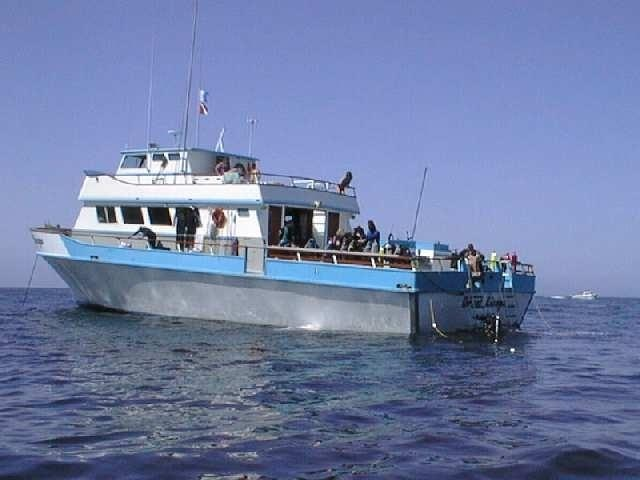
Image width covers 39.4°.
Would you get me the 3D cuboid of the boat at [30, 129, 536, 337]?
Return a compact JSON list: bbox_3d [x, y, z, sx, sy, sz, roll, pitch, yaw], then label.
[{"bbox_3d":[-2.651,-0.225,32.333,18.336,5.849,7.483,-2,-4,26],"label":"boat"}]
